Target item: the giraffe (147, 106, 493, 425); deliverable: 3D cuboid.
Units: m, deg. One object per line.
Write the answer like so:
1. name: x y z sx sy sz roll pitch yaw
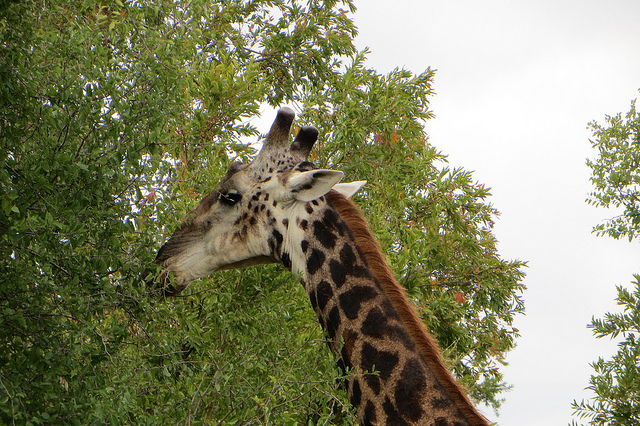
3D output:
1. giraffe: 0.062 0.688 10.323 3.517 2.902 1.476 25 -42 -5
